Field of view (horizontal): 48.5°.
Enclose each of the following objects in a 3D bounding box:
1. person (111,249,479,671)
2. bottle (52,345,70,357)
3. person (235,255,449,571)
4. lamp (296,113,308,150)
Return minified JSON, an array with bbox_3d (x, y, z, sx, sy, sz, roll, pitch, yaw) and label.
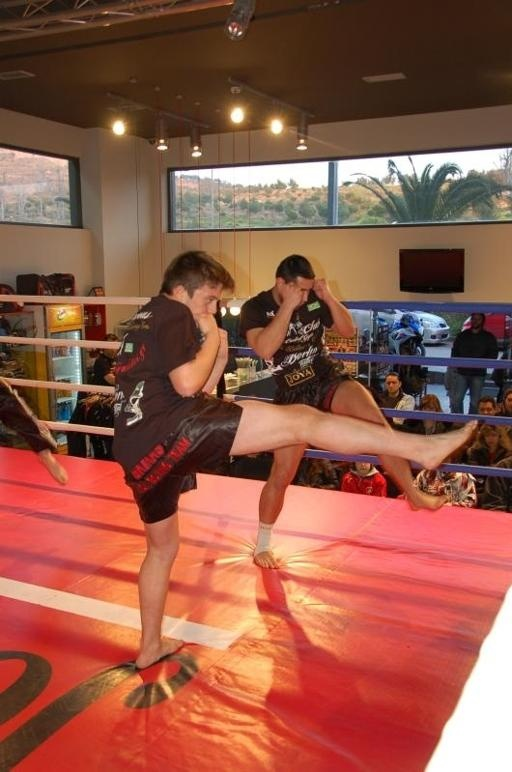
[{"bbox_3d":[0.002,0.187,1.561,0.751,1.104,0.300,-3,9,-8],"label":"person"},{"bbox_3d":[-2.774,-0.482,8.069,0.154,0.118,0.222,4,0,-9],"label":"bottle"},{"bbox_3d":[0.290,0.044,2.075,0.788,1.099,0.368,-13,-14,31],"label":"person"},{"bbox_3d":[0.699,-3.679,8.267,0.137,0.447,0.447,-1,9,6],"label":"lamp"}]
